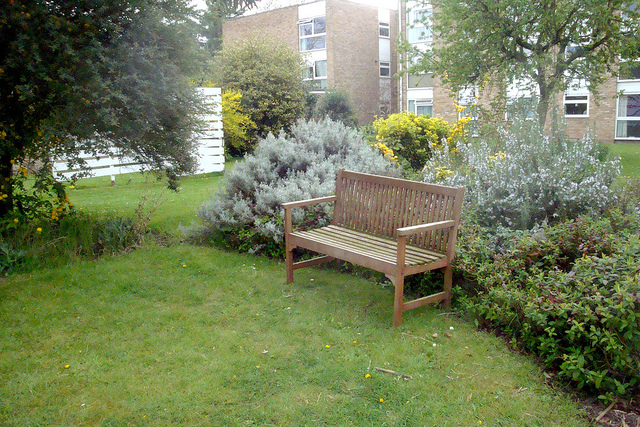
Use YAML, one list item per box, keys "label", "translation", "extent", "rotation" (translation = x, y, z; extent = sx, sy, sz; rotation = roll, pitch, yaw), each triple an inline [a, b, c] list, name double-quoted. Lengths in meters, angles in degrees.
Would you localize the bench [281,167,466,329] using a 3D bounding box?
- label: "bench"
  translation: [0.745, 0.557, 6.291]
  extent: [0.890, 1.393, 1.825]
  rotation: [-7, 11, -36]
